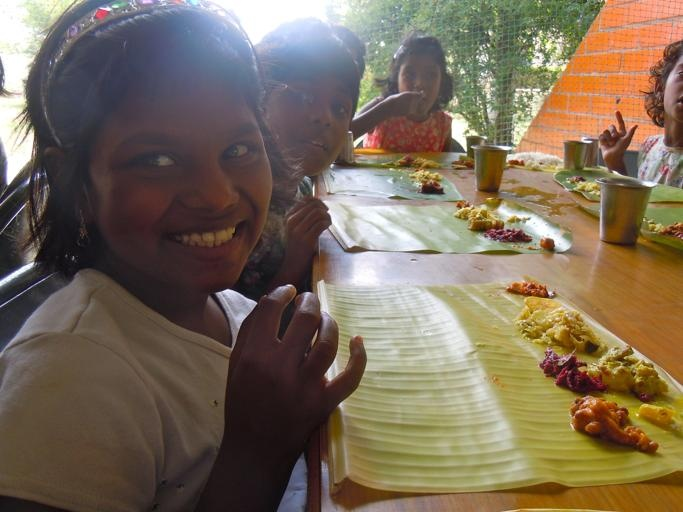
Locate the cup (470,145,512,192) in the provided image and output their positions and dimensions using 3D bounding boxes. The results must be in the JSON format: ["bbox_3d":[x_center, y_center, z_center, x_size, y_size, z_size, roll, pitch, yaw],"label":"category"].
[{"bbox_3d":[0.540,-0.325,1.778,0.173,0.186,0.158,0,26,0],"label":"cup"}]

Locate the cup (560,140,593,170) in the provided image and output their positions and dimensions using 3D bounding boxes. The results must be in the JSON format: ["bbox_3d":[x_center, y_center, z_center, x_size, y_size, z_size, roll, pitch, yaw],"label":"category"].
[{"bbox_3d":[1.087,-0.469,2.177,0.135,0.152,0.134,-3,23,1],"label":"cup"}]
